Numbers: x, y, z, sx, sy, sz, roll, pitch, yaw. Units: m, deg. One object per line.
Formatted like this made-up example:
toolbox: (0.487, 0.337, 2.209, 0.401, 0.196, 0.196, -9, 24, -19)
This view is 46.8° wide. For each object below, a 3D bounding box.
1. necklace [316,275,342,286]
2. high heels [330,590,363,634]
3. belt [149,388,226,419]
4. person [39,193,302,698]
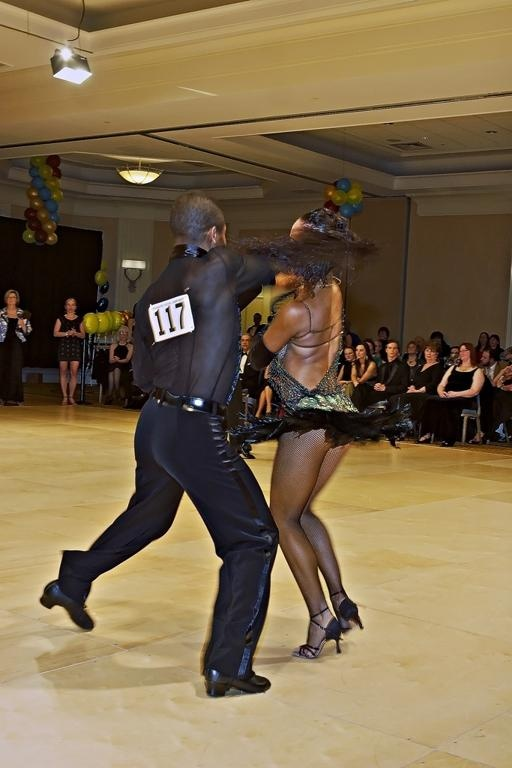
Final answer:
necklace: (0.239, -0.344, 1.967, 0.059, 0.019, 0.086, -1, 0, 18)
high heels: (0.352, 0.860, 2.253, 0.119, 0.083, 0.257, -5, -26, 6)
belt: (-0.205, 0.052, 1.657, 0.234, 0.076, 0.147, 2, -7, 9)
person: (-0.209, 0.174, 1.827, 0.373, 1.424, 0.598, 8, -8, -34)
